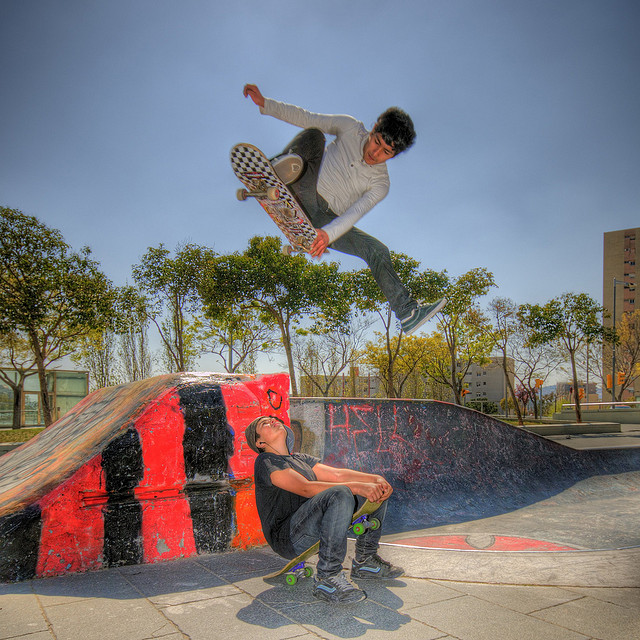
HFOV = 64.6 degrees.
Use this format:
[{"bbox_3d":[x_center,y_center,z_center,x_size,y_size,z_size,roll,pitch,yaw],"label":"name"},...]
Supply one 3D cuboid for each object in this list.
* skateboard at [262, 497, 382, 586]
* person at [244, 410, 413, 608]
[{"bbox_3d":[0.015,1.262,2.905,0.792,0.137,0.194,-36,-27,3],"label":"skateboard"},{"bbox_3d":[0.073,1.028,3.036,0.732,1.107,0.686,-4,-22,-16],"label":"person"}]
